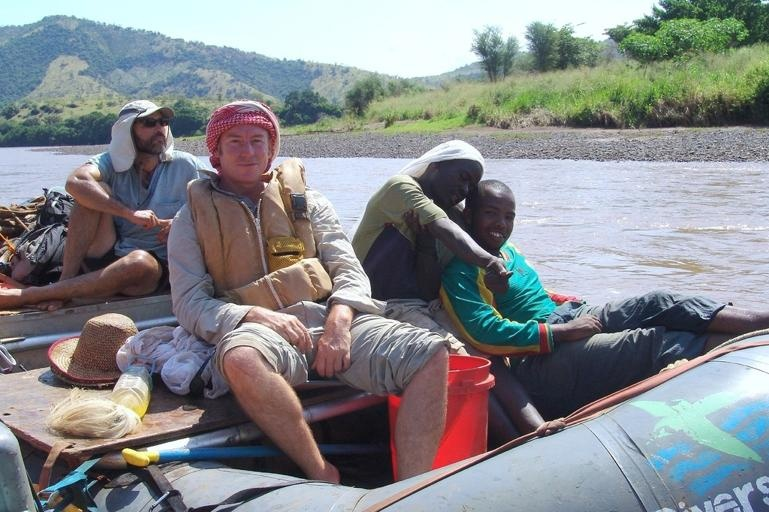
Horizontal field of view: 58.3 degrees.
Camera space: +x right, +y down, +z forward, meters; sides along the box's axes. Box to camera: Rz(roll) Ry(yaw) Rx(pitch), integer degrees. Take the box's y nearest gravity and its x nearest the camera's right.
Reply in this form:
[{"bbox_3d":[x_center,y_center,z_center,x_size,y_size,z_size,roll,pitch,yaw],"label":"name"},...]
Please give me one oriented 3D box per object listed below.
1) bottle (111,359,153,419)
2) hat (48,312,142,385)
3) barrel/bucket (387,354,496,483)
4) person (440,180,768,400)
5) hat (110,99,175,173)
[{"bbox_3d":[-1.350,0.711,3.735,0.131,0.119,0.409,-1,8,-3],"label":"bottle"},{"bbox_3d":[-1.724,0.555,4.037,0.504,0.153,0.419,8,20,-9],"label":"hat"},{"bbox_3d":[0.359,0.850,3.828,0.652,0.525,0.377,-13,19,-39],"label":"barrel/bucket"},{"bbox_3d":[1.267,0.218,4.339,1.769,1.274,0.736,3,16,15],"label":"person"},{"bbox_3d":[-2.001,-1.010,5.619,0.509,0.467,0.409,5,12,20],"label":"hat"}]
